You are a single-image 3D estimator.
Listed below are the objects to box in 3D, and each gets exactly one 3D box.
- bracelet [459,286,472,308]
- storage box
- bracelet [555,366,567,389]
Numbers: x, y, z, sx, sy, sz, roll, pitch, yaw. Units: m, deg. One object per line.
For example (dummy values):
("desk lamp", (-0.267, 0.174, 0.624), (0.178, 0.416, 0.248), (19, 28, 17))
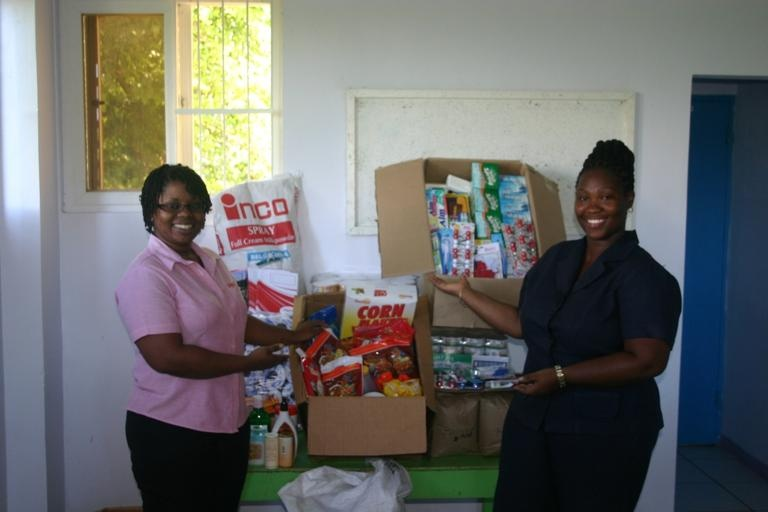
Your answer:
("bracelet", (0.418, 0.229, 3.476), (0.025, 0.088, 0.086), (-1, -4, -17))
("storage box", (-0.052, 0.278, 4.237), (1.820, 1.539, 0.576), (-3, -3, -5))
("bracelet", (0.783, 0.541, 2.931), (0.052, 0.083, 0.083), (-15, 2, 2))
